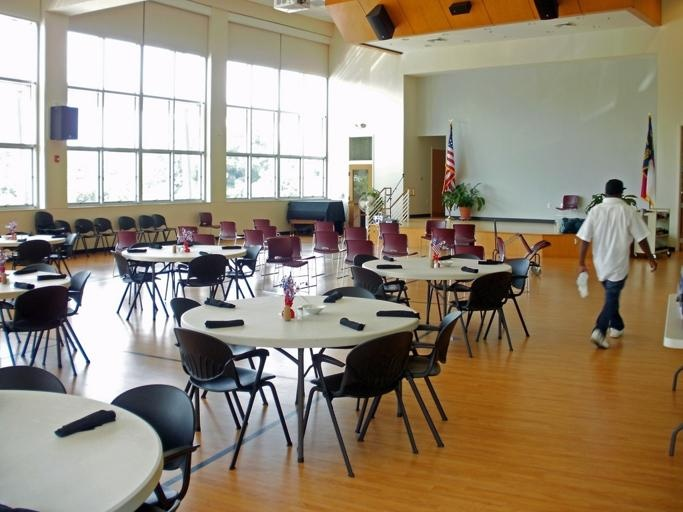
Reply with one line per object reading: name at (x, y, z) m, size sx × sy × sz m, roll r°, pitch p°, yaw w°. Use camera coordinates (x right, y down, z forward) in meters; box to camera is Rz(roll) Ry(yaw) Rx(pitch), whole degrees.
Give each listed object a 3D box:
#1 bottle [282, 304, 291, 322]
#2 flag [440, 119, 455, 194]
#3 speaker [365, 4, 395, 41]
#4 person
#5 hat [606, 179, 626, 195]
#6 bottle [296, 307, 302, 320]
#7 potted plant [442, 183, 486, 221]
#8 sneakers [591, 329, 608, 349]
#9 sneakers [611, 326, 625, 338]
bottle at (-0.429, 0.438, 4.245) m, size 0.075 × 0.115 × 0.140 m, roll -2°, pitch 5°, yaw -7°
flag at (3.563, -3.238, 17.625) m, size 0.353 × 2.362 × 1.061 m, roll 0°, pitch 5°, yaw 13°
speaker at (0.879, -5.204, 12.032) m, size 0.421 × 0.619 × 0.753 m, roll 3°, pitch 6°, yaw 37°
person at (3.194, 0.119, 6.271) m, size 0.784 × 1.989 × 0.411 m, roll 1°, pitch 6°, yaw 25°
hat at (3.249, -0.824, 6.388) m, size 0.171 × 0.152 × 0.271 m, roll 4°, pitch 28°, yaw 34°
bottle at (-0.327, 0.446, 4.229) m, size 0.054 × 0.094 × 0.085 m, roll -2°, pitch 5°, yaw -5°
potted plant at (4.018, -1.735, 17.749) m, size 1.189 × 1.290 × 1.228 m, roll -2°, pitch 3°, yaw 31°
sneakers at (3.099, 1.003, 6.441) m, size 0.123 × 0.159 × 0.360 m, roll -2°, pitch -18°, yaw 32°
sneakers at (3.536, 0.970, 6.871) m, size 0.087 × 0.101 × 0.221 m, roll 6°, pitch 13°, yaw 42°
